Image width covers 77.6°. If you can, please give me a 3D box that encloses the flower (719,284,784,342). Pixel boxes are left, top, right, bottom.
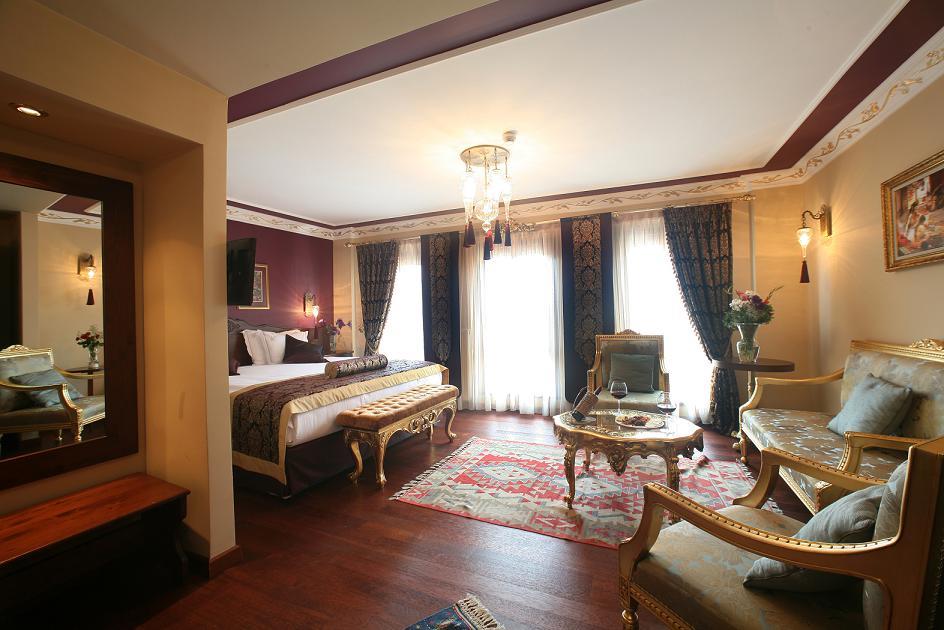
[{"bbox_3d":[3.133,0.003,6.694,0.474,0.546,0.715,-2,3,22],"label":"flower"}]

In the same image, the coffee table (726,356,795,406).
[{"bbox_3d":[3.164,0.663,6.411,0.622,0.621,0.585,-1,-2,-4],"label":"coffee table"}]

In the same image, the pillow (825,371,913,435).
[{"bbox_3d":[3.345,0.786,4.941,0.401,0.487,0.503,-3,3,2],"label":"pillow"}]

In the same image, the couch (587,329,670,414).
[{"bbox_3d":[1.782,0.805,6.711,0.920,1.119,0.935,1,7,25],"label":"couch"}]

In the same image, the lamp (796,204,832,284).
[{"bbox_3d":[3.757,-0.762,6.492,0.292,0.842,0.661,-2,3,23],"label":"lamp"}]

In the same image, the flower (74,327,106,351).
[{"bbox_3d":[-2.941,0.187,4.537,0.175,0.165,0.172,2,0,20],"label":"flower"}]

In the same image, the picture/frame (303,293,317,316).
[{"bbox_3d":[-2.503,-0.151,9.034,0.049,0.456,0.354,-1,-2,28],"label":"picture/frame"}]

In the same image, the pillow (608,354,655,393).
[{"bbox_3d":[1.815,0.666,6.620,0.398,0.351,0.140,2,-23,18],"label":"pillow"}]

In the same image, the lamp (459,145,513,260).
[{"bbox_3d":[0.146,-1.218,6.266,0.609,0.982,0.637,2,6,40],"label":"lamp"}]

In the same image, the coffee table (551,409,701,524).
[{"bbox_3d":[1.384,1.293,5.453,1.364,0.654,1.119,-1,6,5],"label":"coffee table"}]

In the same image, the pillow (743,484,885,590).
[{"bbox_3d":[2.014,1.383,3.483,0.624,0.257,0.861,-15,25,46],"label":"pillow"}]
